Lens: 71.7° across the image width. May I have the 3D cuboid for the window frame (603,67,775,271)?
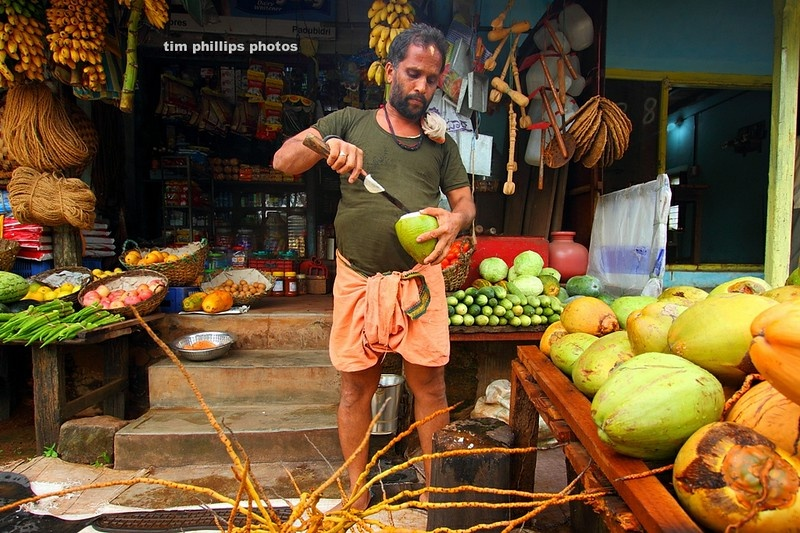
[{"bbox_3d":[4.594,-1.516,8.602,1.714,2.926,3.140,-3,7,-22],"label":"window frame"}]

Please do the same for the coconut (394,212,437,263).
[{"bbox_3d":[0.118,-0.209,4.038,0.287,0.363,0.146,5,7,32],"label":"coconut"}]
